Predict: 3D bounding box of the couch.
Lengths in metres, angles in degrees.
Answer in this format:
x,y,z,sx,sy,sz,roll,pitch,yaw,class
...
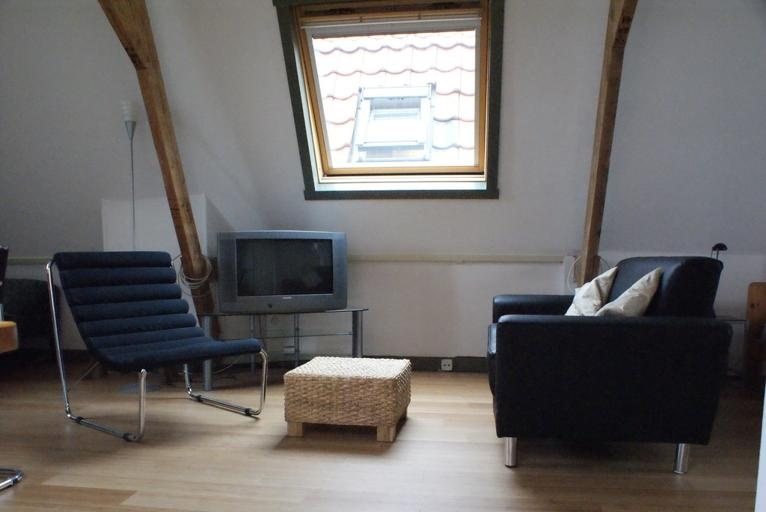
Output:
x,y,z,sx,sy,sz,roll,pitch,yaw,class
1.401,0.634,4.032,1.411,1.251,1.523,-1,3,5,couch

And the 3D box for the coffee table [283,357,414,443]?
x,y,z,sx,sy,sz,roll,pitch,yaw,class
-0.221,0.940,4.012,0.592,0.329,0.588,0,-2,6,coffee table

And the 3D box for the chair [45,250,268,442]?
x,y,z,sx,sy,sz,roll,pitch,yaw,class
-1.574,0.562,4.078,1.145,1.117,1.283,-2,7,-45,chair

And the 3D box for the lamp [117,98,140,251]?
x,y,z,sx,sy,sz,roll,pitch,yaw,class
-2.216,-0.698,5.161,0.167,1.280,0.222,-5,15,-19,lamp
